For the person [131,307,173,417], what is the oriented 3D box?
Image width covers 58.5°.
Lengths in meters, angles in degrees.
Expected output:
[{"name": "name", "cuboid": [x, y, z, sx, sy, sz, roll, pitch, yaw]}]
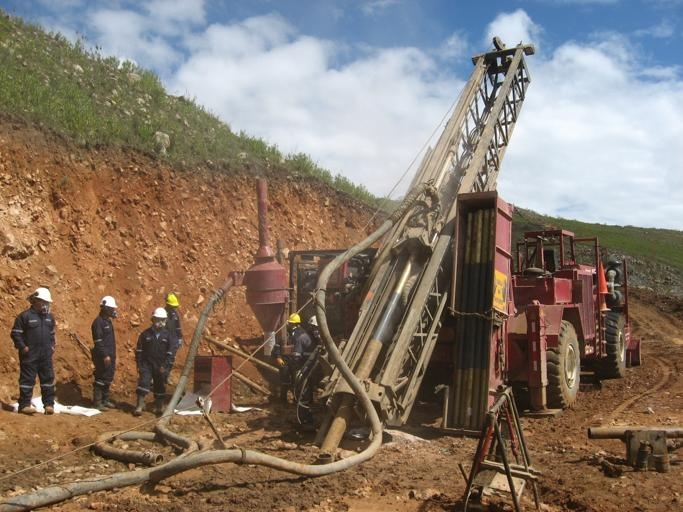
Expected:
[{"name": "person", "cuboid": [-3.922, 2.211, 12.786, 0.780, 1.722, 0.581, 11, -6, -29]}]

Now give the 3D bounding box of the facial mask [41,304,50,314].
[{"name": "facial mask", "cuboid": [-5.735, 1.041, 11.754, 0.117, 0.149, 0.150, -1, -25, -4]}]

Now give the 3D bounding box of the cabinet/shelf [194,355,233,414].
[{"name": "cabinet/shelf", "cuboid": [-2.855, 2.731, 12.901, 1.001, 1.395, 1.000, 0, -26, -13]}]

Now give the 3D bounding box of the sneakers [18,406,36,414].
[{"name": "sneakers", "cuboid": [-5.785, 2.836, 11.195, 0.340, 0.144, 0.124, -2, -12, 8]}]

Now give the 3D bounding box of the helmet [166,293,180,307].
[{"name": "helmet", "cuboid": [-3.997, 1.044, 14.381, 0.329, 0.239, 0.438, -2, 8, -33]}]

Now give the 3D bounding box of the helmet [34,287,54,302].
[{"name": "helmet", "cuboid": [-5.841, 0.724, 11.855, 0.440, 0.236, 0.328, 4, -5, 45]}]

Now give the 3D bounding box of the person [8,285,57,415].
[{"name": "person", "cuboid": [-5.748, 1.765, 11.498, 0.943, 2.118, 0.709, 10, -6, -23]}]

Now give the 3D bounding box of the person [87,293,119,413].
[{"name": "person", "cuboid": [-4.928, 1.988, 12.669, 0.642, 1.900, 0.719, 10, -6, -21]}]

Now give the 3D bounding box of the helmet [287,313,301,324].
[{"name": "helmet", "cuboid": [-1.173, 1.547, 14.993, 0.367, 0.187, 0.491, -1, 2, -3]}]

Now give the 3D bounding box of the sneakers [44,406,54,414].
[{"name": "sneakers", "cuboid": [-5.431, 2.879, 11.324, 0.186, 0.180, 0.137, -3, -26, -8]}]

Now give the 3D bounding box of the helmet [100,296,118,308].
[{"name": "helmet", "cuboid": [-4.936, 0.979, 12.857, 0.293, 0.219, 0.407, 1, -2, -45]}]

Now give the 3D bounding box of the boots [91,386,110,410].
[{"name": "boots", "cuboid": [-4.887, 2.878, 12.425, 0.374, 0.417, 0.318, 10, -6, -24]}]
